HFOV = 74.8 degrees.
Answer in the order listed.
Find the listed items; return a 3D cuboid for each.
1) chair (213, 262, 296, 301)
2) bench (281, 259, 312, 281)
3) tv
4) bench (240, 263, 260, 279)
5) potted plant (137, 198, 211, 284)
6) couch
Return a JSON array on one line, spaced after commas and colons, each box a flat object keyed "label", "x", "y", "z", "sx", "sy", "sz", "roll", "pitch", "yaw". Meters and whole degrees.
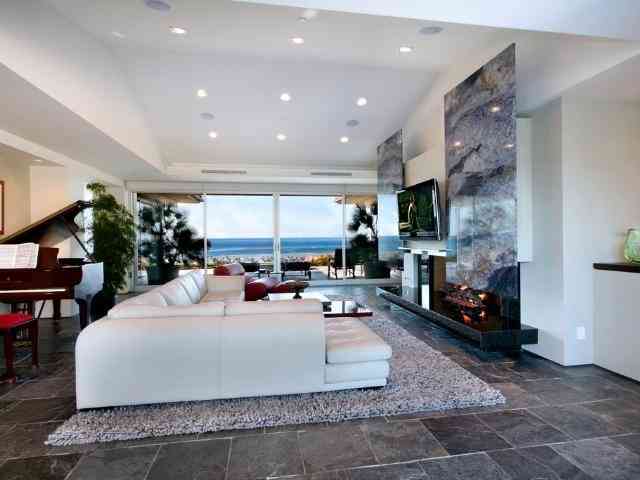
[{"label": "chair", "x": -1.191, "y": 0.739, "z": 7.434, "sx": 1.041, "sy": 0.529, "sz": 0.963, "roll": 2, "pitch": 1, "yaw": 8}, {"label": "bench", "x": -0.559, "y": 0.697, "z": 10.095, "sx": 0.781, "sy": 0.406, "sz": 0.490, "roll": 0, "pitch": 4, "yaw": -7}, {"label": "tv", "x": 1.558, "y": -0.484, "z": 6.470, "sx": 0.140, "sy": 0.786, "sz": 1.215, "roll": 0, "pitch": -2, "yaw": -21}, {"label": "bench", "x": -1.590, "y": 0.673, "z": 9.536, "sx": 0.649, "sy": 0.356, "sz": 0.318, "roll": 1, "pitch": 1, "yaw": -3}, {"label": "potted plant", "x": -3.711, "y": 0.084, "z": 10.451, "sx": 2.035, "sy": 2.218, "sz": 1.989, "roll": -4, "pitch": -6, "yaw": 41}, {"label": "couch", "x": -0.954, "y": 0.965, "z": 3.800, "sx": 1.607, "sy": 0.444, "sz": 1.640, "roll": 0, "pitch": -1, "yaw": -12}]
